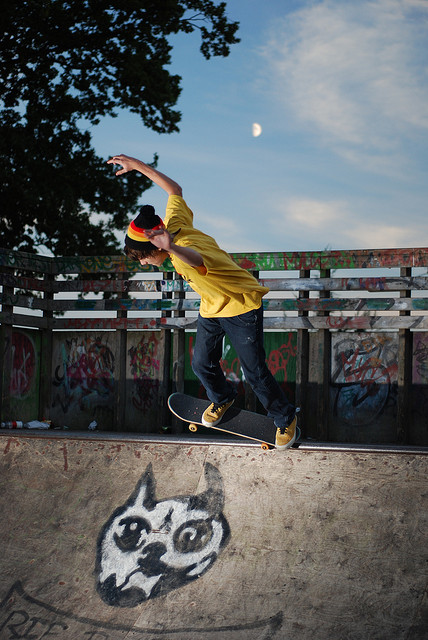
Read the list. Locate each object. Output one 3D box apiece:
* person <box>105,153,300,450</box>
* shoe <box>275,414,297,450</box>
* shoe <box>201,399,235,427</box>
[{"bbox_3d":[-0.190,-0.035,4.639,1.156,1.962,0.840,17,41,39],"label":"person"},{"bbox_3d":[0.484,0.771,4.730,0.073,0.089,0.224,-5,33,25],"label":"shoe"},{"bbox_3d":[0.000,0.662,5.011,0.289,0.106,0.114,-41,-8,-20],"label":"shoe"}]
